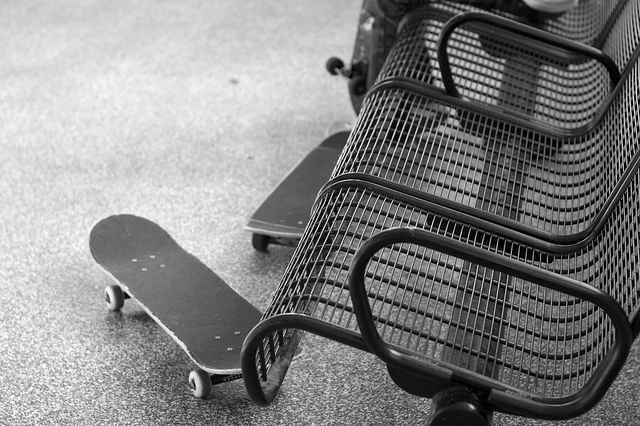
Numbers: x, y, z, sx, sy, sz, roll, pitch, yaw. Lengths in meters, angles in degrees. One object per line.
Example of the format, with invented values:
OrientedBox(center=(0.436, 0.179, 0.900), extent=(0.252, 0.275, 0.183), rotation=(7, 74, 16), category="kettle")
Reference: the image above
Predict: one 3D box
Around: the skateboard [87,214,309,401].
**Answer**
OrientedBox(center=(-0.423, 0.320, 2.553), extent=(0.385, 0.175, 1.000), rotation=(-22, 53, -31), category="skateboard")
